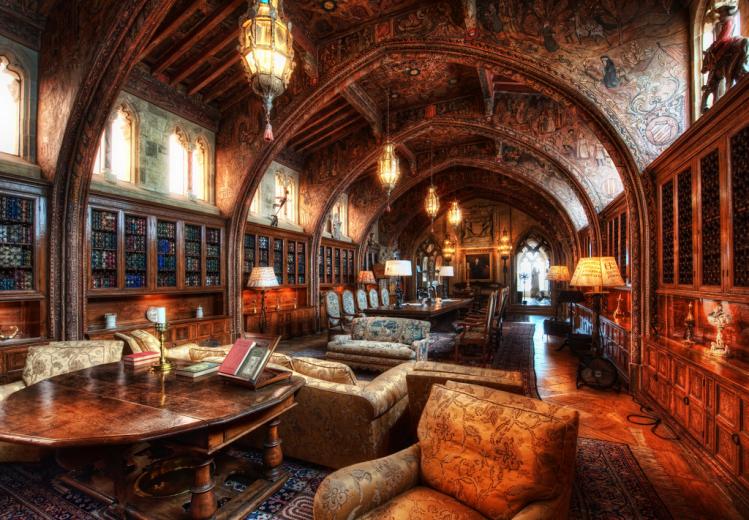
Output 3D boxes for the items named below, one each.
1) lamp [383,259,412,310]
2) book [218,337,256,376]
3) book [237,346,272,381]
[{"bbox_3d":[0.482,0.451,9.049,0.609,0.950,0.606,1,1,-12],"label":"lamp"},{"bbox_3d":[-1.410,0.985,4.821,0.379,0.374,0.094,13,-19,31],"label":"book"},{"bbox_3d":[-1.182,1.035,4.742,0.300,0.336,0.079,7,-30,31],"label":"book"}]
